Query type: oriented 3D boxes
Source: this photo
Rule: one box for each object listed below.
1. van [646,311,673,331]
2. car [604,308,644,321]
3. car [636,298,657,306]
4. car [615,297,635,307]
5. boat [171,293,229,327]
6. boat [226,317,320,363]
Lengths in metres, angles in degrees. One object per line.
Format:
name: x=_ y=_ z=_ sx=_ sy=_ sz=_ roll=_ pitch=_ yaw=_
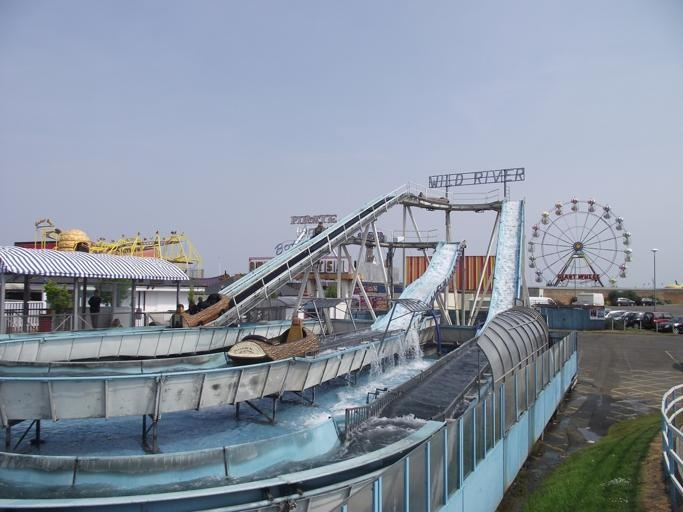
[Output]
van: x=23.835 y=4.975 z=57.064 sx=1.419 sy=0.929 sz=2.025 roll=-1 pitch=5 yaw=18
car: x=24.639 y=5.130 z=65.735 sx=2.961 sy=0.916 sz=1.554 roll=-8 pitch=0 yaw=-2
car: x=41.316 y=6.199 z=102.080 sx=1.687 sy=0.945 sz=8.025 roll=-1 pitch=-3 yaw=17
car: x=39.271 y=6.228 z=104.634 sx=1.538 sy=1.163 sz=2.767 roll=6 pitch=-11 yaw=-44
boat: x=-6.233 y=2.394 z=32.103 sx=1.161 sy=0.837 sz=2.250 roll=-4 pitch=10 yaw=36
boat: x=-2.299 y=2.890 z=25.830 sx=1.597 sy=1.428 sz=3.299 roll=-1 pitch=-3 yaw=24
